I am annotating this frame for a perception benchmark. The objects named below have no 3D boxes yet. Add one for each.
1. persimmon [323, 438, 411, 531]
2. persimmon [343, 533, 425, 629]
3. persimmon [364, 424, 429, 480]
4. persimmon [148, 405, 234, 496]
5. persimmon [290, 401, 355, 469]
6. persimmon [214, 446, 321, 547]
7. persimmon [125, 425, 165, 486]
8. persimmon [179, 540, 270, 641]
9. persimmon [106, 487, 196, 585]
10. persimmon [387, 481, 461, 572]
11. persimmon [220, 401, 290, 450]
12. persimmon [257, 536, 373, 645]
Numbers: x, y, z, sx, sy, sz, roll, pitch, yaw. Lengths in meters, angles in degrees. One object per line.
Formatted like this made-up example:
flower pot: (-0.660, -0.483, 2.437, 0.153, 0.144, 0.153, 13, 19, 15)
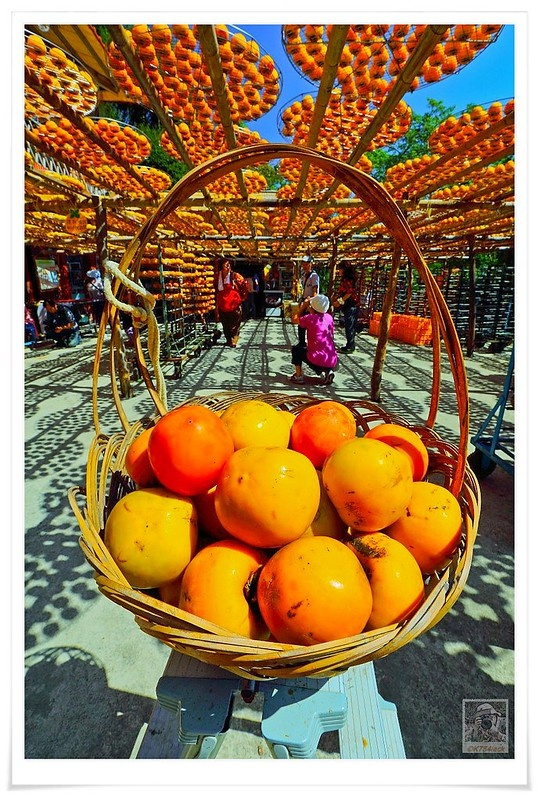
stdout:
persimmon: (0.256, 0.232, 1.166, 0.265, 0.206, 0.248, 5, 50, 13)
persimmon: (0.257, 0.412, 1.018, 0.167, 0.209, 0.114, -20, 37, 22)
persimmon: (0.408, 0.151, 1.408, 0.210, 0.064, 0.211, -5, 10, 43)
persimmon: (-0.165, 0.126, 1.226, 0.251, 0.261, 0.236, -1, 41, -1)
persimmon: (0.168, 0.076, 1.450, 0.207, 0.213, 0.193, 14, 33, 13)
persimmon: (-0.010, 0.211, 1.131, 0.280, 0.226, 0.236, 4, 1, 15)
persimmon: (-0.408, 0.166, 1.335, 0.107, 0.167, 0.182, -10, -11, 11)
persimmon: (-0.145, 0.443, 1.030, 0.132, 0.206, 0.219, -26, -41, 29)
persimmon: (-0.300, 0.324, 1.150, 0.209, 0.176, 0.254, 10, 17, 1)
persimmon: (0.434, 0.316, 1.217, 0.222, 0.220, 0.198, -4, 16, -11)
persimmon: (-0.046, 0.063, 1.417, 0.180, 0.189, 0.181, -8, 8, -2)
persimmon: (0.122, 0.410, 0.972, 0.216, 0.207, 0.232, -20, 8, 24)
